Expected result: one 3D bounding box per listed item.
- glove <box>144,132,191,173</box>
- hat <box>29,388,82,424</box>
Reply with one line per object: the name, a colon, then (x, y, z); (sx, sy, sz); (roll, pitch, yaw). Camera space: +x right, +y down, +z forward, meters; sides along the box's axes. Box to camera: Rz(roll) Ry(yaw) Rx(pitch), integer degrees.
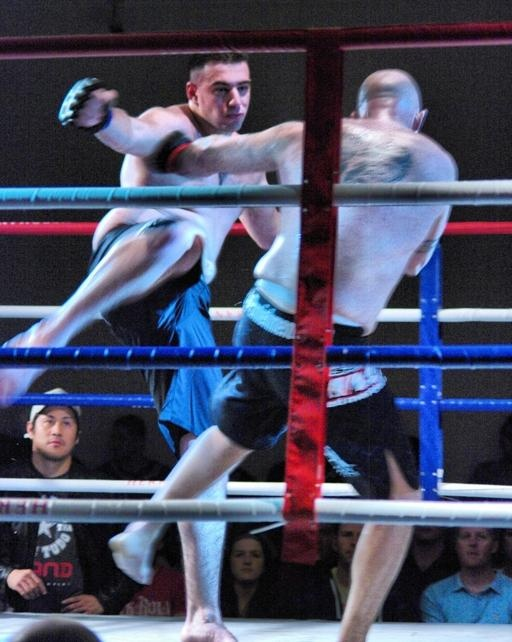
glove: (-0.185, -0.361, 2.598); (0.089, 0.089, 0.107); (36, -3, -16)
hat: (-0.609, 0.245, 3.519); (0.151, 0.059, 0.158); (1, 10, 0)
